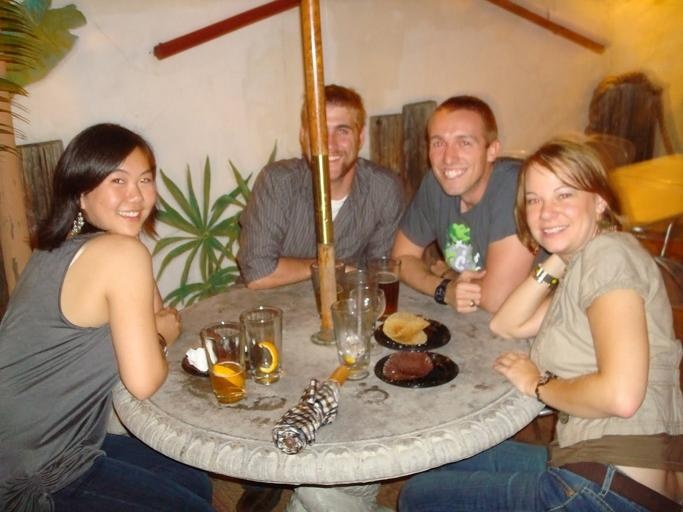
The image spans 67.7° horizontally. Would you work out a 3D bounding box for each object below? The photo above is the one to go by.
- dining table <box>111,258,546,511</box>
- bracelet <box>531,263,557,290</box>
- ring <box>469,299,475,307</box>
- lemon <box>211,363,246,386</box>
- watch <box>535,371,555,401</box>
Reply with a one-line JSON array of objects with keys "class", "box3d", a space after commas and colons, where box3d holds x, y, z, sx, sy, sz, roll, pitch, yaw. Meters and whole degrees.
[{"class": "dining table", "box3d": [0.021, 0.451, 1.786, 0.996, 0.609, 0.963, 1, 15, 2]}, {"class": "bracelet", "box3d": [0.766, 0.073, 1.900, 0.036, 0.085, 0.081, -49, 21, -4]}, {"class": "ring", "box3d": [0.530, 0.192, 2.065, 0.017, 0.023, 0.008, -6, 7, -5]}, {"class": "lemon", "box3d": [-0.326, 0.339, 1.501, 0.067, 0.032, 0.080, 8, 1, -44]}, {"class": "watch", "box3d": [0.618, 0.395, 1.560, 0.062, 0.024, 0.082, 28, 58, 8]}]
